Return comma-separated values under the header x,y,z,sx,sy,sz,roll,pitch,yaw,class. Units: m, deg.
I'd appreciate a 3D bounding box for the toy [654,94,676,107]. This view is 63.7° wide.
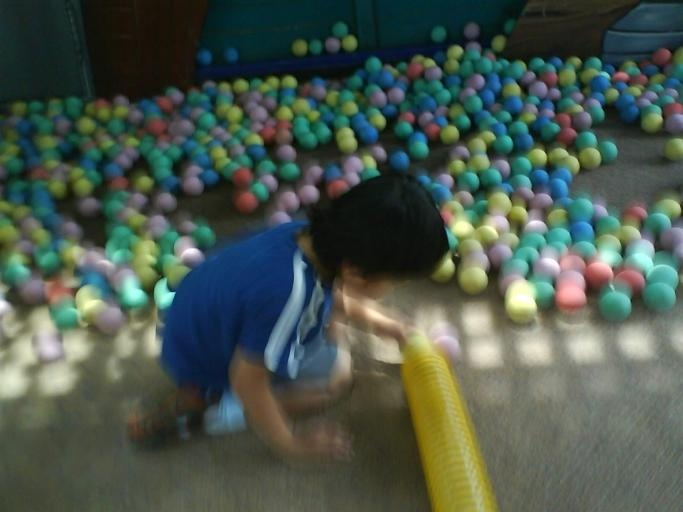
x,y,z,sx,sy,sz,roll,pitch,yaw,class
1.541,-0.741,2.625,0.065,0.042,0.072,-14,59,20,toy

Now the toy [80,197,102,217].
x,y,z,sx,sy,sz,roll,pitch,yaw,class
-1.089,-0.212,2.374,0.077,0.044,0.085,14,64,-5,toy

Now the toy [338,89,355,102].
x,y,z,sx,sy,sz,roll,pitch,yaw,class
0.029,-0.817,2.832,0.081,0.046,0.101,6,42,-2,toy

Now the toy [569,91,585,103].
x,y,z,sx,sy,sz,roll,pitch,yaw,class
1.173,-0.786,2.756,0.070,0.066,0.062,-7,7,0,toy

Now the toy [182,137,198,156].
x,y,z,sx,sy,sz,roll,pitch,yaw,class
-0.712,-0.525,2.651,0.071,0.056,0.073,18,56,44,toy

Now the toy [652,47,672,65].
x,y,z,sx,sy,sz,roll,pitch,yaw,class
1.689,-1.053,2.908,0.093,0.071,0.075,25,45,19,toy

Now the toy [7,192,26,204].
x,y,z,sx,sy,sz,roll,pitch,yaw,class
-1.406,-0.267,2.403,0.066,0.063,0.058,6,14,23,toy

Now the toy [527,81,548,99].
x,y,z,sx,sy,sz,roll,pitch,yaw,class
0.992,-0.836,2.821,0.083,0.104,0.092,3,54,1,toy

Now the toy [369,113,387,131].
x,y,z,sx,sy,sz,roll,pitch,yaw,class
0.172,-0.659,2.752,0.063,0.084,0.065,-44,18,0,toy

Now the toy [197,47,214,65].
x,y,z,sx,sy,sz,roll,pitch,yaw,class
-0.751,-1.089,3.022,0.067,0.077,0.087,10,42,4,toy

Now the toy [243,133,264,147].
x,y,z,sx,sy,sz,roll,pitch,yaw,class
-0.417,-0.550,2.637,0.091,0.040,0.115,-10,45,-18,toy

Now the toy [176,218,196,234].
x,y,z,sx,sy,sz,roll,pitch,yaw,class
-0.629,-0.123,2.234,0.065,0.040,0.069,-15,46,-20,toy

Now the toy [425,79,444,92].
x,y,z,sx,sy,sz,roll,pitch,yaw,class
0.476,-0.871,2.827,0.078,0.073,0.074,-9,44,3,toy

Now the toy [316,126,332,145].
x,y,z,sx,sy,sz,roll,pitch,yaw,class
-0.085,-0.586,2.721,0.070,0.074,0.086,8,44,-14,toy

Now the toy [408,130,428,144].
x,y,z,sx,sy,sz,roll,pitch,yaw,class
0.359,-0.560,2.597,0.061,0.078,0.067,-19,55,-15,toy

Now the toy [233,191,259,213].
x,y,z,sx,sy,sz,roll,pitch,yaw,class
-0.413,-0.231,2.426,0.103,0.095,0.088,30,31,23,toy

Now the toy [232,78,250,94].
x,y,z,sx,sy,sz,roll,pitch,yaw,class
-0.547,-0.921,2.996,0.077,0.088,0.095,1,12,19,toy

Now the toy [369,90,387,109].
x,y,z,sx,sy,sz,roll,pitch,yaw,class
0.181,-0.787,2.827,0.073,0.087,0.079,-3,64,39,toy

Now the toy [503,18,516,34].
x,y,z,sx,sy,sz,roll,pitch,yaw,class
0.908,-1.245,2.989,0.075,0.085,0.095,-7,17,5,toy

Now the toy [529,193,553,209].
x,y,z,sx,sy,sz,roll,pitch,yaw,class
0.822,-0.225,2.264,0.076,0.069,0.065,19,12,-29,toy

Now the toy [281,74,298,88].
x,y,z,sx,sy,sz,roll,pitch,yaw,class
-0.285,-0.952,3.017,0.089,0.058,0.133,2,43,-6,toy

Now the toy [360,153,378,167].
x,y,z,sx,sy,sz,roll,pitch,yaw,class
0.122,-0.418,2.530,0.061,0.063,0.080,11,70,-29,toy

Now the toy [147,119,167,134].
x,y,z,sx,sy,sz,roll,pitch,yaw,class
-0.916,-0.643,2.736,0.094,0.059,0.076,1,42,-7,toy

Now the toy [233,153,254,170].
x,y,z,sx,sy,sz,roll,pitch,yaw,class
-0.452,-0.439,2.535,0.073,0.060,0.044,17,73,32,toy

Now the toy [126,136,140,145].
x,y,z,sx,sy,sz,roll,pitch,yaw,class
-1.011,-0.551,2.669,0.051,0.047,0.032,30,-5,-19,toy

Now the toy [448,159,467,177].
x,y,z,sx,sy,sz,roll,pitch,yaw,class
0.508,-0.391,2.438,0.067,0.073,0.077,-11,20,-43,toy

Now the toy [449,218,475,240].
x,y,z,sx,sy,sz,roll,pitch,yaw,class
0.463,-0.106,2.161,0.089,0.079,0.081,19,52,-19,toy

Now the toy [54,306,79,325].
x,y,z,sx,sy,sz,roll,pitch,yaw,class
-0.985,0.222,1.977,0.076,0.049,0.064,-22,49,-28,toy

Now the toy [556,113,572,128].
x,y,z,sx,sy,sz,roll,pitch,yaw,class
1.054,-0.645,2.612,0.064,0.072,0.081,3,28,7,toy

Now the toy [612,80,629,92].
x,y,z,sx,sy,sz,roll,pitch,yaw,class
1.399,-0.851,2.765,0.070,0.066,0.063,-7,32,16,toy

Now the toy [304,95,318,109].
x,y,z,sx,sy,sz,roll,pitch,yaw,class
-0.154,-0.800,2.862,0.060,0.078,0.069,3,58,7,toy

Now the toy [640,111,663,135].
x,y,z,sx,sy,sz,roll,pitch,yaw,class
1.462,-0.627,2.591,0.094,0.081,0.074,11,41,5,toy

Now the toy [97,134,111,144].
x,y,z,sx,sy,sz,roll,pitch,yaw,class
-1.152,-0.570,2.699,0.061,0.052,0.040,4,49,17,toy

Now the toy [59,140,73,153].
x,y,z,sx,sy,sz,roll,pitch,yaw,class
-1.334,-0.523,2.672,0.059,0.035,0.063,0,-1,13,toy

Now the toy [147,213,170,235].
x,y,z,sx,sy,sz,roll,pitch,yaw,class
-0.739,-0.130,2.235,0.069,0.049,0.085,7,37,-24,toy

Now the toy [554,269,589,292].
x,y,z,sx,sy,sz,roll,pitch,yaw,class
0.811,0.081,1.947,0.072,0.094,0.077,5,-3,11,toy

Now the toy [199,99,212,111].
x,y,z,sx,sy,sz,roll,pitch,yaw,class
-0.707,-0.781,2.849,0.044,0.054,0.047,40,89,21,toy

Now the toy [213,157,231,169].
x,y,z,sx,sy,sz,roll,pitch,yaw,class
-0.549,-0.428,2.537,0.067,0.062,0.058,-20,13,1,toy

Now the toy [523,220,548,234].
x,y,z,sx,sy,sz,roll,pitch,yaw,class
0.761,-0.114,2.159,0.071,0.065,0.067,-1,67,1,toy

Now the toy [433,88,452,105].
x,y,z,sx,sy,sz,roll,pitch,yaw,class
0.511,-0.802,2.780,0.077,0.086,0.069,-45,31,-18,toy

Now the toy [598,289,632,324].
x,y,z,sx,sy,sz,roll,pitch,yaw,class
0.934,0.173,1.886,0.098,0.106,0.099,-23,1,23,toy

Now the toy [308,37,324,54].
x,y,z,sx,sy,sz,roll,pitch,yaw,class
-0.137,-1.146,3.034,0.071,0.077,0.090,1,62,-4,toy

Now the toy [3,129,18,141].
x,y,z,sx,sy,sz,roll,pitch,yaw,class
-1.625,-0.595,2.705,0.045,0.034,0.033,41,38,2,toy

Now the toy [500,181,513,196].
x,y,z,sx,sy,sz,roll,pitch,yaw,class
0.694,-0.282,2.340,0.048,0.061,0.054,-11,50,24,toy

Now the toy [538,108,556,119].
x,y,z,sx,sy,sz,roll,pitch,yaw,class
0.986,-0.688,2.668,0.067,0.064,0.060,8,17,-7,toy

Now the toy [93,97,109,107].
x,y,z,sx,sy,sz,roll,pitch,yaw,class
-1.240,-0.796,2.843,0.058,0.043,0.074,10,17,-5,toy

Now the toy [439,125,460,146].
x,y,z,sx,sy,sz,roll,pitch,yaw,class
0.515,-0.573,2.665,0.083,0.086,0.103,-10,75,-35,toy

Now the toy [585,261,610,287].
x,y,z,sx,sy,sz,roll,pitch,yaw,class
0.908,0.065,2.001,0.091,0.088,0.083,12,1,4,toy

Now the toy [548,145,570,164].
x,y,z,sx,sy,sz,roll,pitch,yaw,class
0.979,-0.470,2.493,0.091,0.085,0.079,24,20,18,toy

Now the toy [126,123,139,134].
x,y,z,sx,sy,sz,roll,pitch,yaw,class
-1.051,-0.638,2.767,0.045,0.065,0.036,-9,19,2,toy

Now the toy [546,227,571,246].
x,y,z,sx,sy,sz,roll,pitch,yaw,class
0.823,-0.076,2.095,0.069,0.089,0.070,2,-1,15,toy

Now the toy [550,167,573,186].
x,y,z,sx,sy,sz,roll,pitch,yaw,class
0.950,-0.349,2.366,0.074,0.093,0.076,15,47,14,toy

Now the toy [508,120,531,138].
x,y,z,sx,sy,sz,roll,pitch,yaw,class
0.824,-0.597,2.573,0.075,0.098,0.083,11,56,7,toy

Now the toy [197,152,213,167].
x,y,z,sx,sy,sz,roll,pitch,yaw,class
-0.634,-0.439,2.535,0.059,0.057,0.064,-43,26,-25,toy
